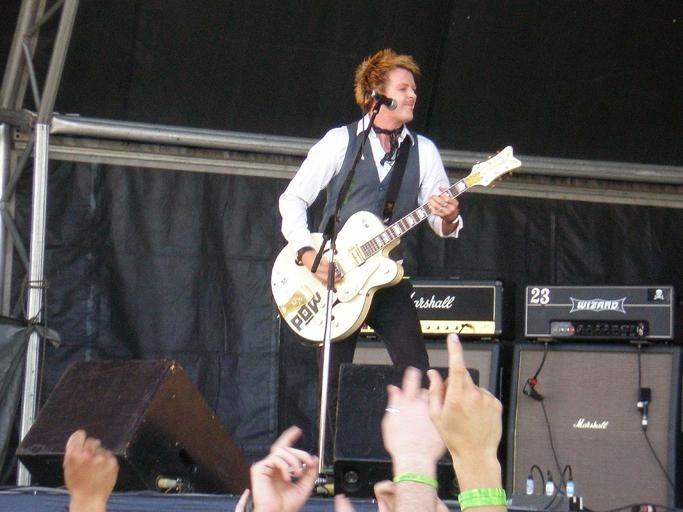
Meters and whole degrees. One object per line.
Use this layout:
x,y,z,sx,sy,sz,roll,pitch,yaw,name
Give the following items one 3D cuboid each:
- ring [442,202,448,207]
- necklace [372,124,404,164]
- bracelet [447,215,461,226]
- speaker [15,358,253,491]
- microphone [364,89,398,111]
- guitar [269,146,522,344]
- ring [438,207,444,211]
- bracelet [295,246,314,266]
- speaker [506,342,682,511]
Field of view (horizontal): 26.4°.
0.501,-0.266,7.447,0.025,0.022,0.005,1,-4,-2,ring
0.233,-0.627,7.673,0.140,0.108,0.117,3,14,-5,necklace
0.563,-0.184,7.594,0.060,0.042,0.022,-18,-28,41,bracelet
-0.911,0.824,6.634,0.798,0.535,0.841,17,-15,-36,speaker
0.187,-0.792,7.398,0.073,0.059,0.198,-22,-21,31,microphone
0.290,-0.042,7.630,1.397,0.546,0.160,-36,-19,8,guitar
0.488,-0.239,7.454,0.021,0.020,0.009,3,-11,-4,ring
-0.227,0.004,7.594,0.028,0.093,0.093,5,-28,-34,bracelet
1.377,0.959,7.950,0.923,0.956,0.386,1,-14,13,speaker
